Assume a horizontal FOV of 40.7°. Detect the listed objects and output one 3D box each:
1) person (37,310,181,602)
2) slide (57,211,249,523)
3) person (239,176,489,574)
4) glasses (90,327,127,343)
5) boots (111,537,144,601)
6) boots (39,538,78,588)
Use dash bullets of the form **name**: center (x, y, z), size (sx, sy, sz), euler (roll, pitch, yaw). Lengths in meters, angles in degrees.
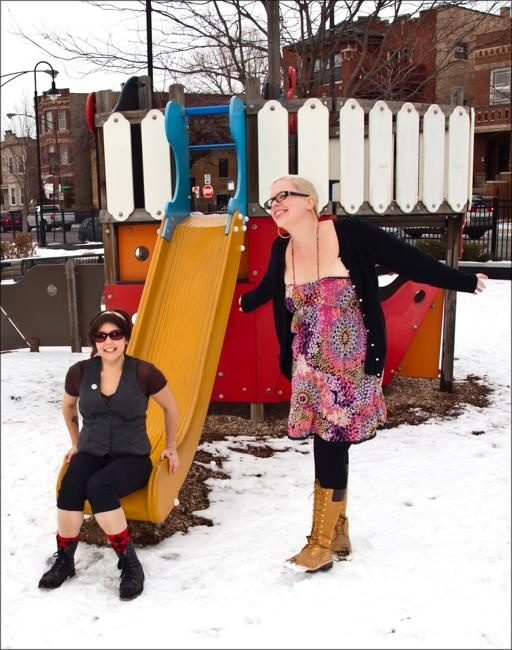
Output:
- **person**: center (-0.692, 0.524, 3.135), size (0.527, 1.163, 0.637), euler (1, 8, 15)
- **slide**: center (-0.471, -0.010, 4.247), size (0.541, 2.354, 0.554), euler (10, -21, 7)
- **person**: center (0.395, 0.218, 3.020), size (0.853, 1.732, 0.380), euler (0, 8, 9)
- **glasses**: center (-0.662, 0.045, 3.105), size (0.163, 0.060, 0.113), euler (-3, 8, -16)
- **boots**: center (-0.559, 1.031, 2.971), size (0.112, 0.238, 0.307), euler (-9, 0, -8)
- **boots**: center (-0.866, 1.033, 3.014), size (0.088, 0.186, 0.213), euler (7, 5, 19)
